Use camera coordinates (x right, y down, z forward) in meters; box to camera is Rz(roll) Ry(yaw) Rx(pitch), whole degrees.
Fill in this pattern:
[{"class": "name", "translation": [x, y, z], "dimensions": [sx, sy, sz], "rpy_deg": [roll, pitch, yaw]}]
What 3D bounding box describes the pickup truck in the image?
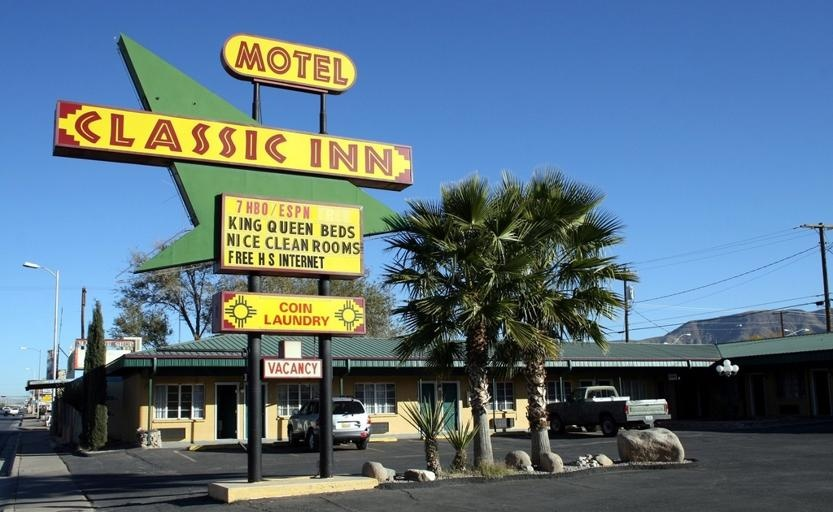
[{"class": "pickup truck", "translation": [9.324, 7.697, 39.813], "dimensions": [1.568, 2.449, 5.635], "rpy_deg": [9, -18, -44]}]
